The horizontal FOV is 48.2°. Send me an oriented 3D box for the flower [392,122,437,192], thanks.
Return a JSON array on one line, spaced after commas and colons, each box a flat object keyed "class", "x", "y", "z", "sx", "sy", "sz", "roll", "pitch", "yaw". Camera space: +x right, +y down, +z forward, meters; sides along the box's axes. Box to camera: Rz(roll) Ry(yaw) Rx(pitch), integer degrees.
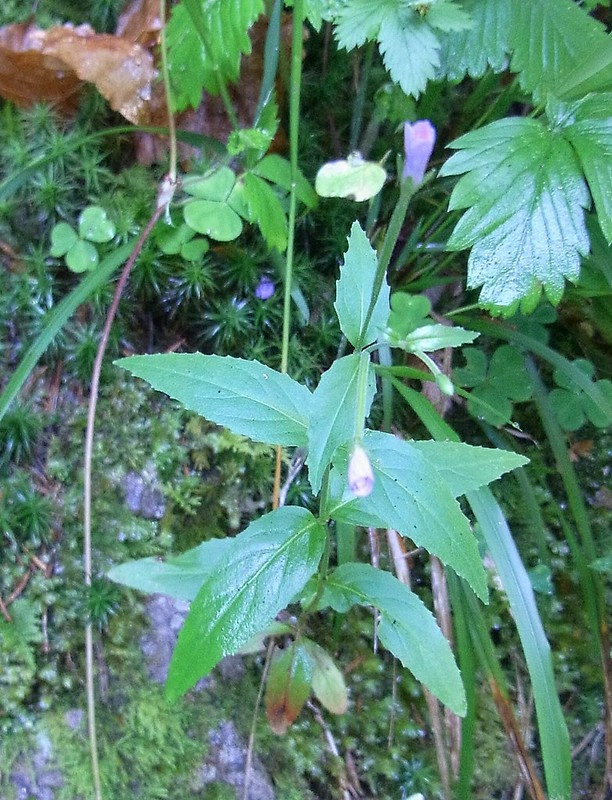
[{"class": "flower", "x": 0.164, "y": -0.377, "z": 1.017, "sx": 0.043, "sy": 0.108, "sz": 0.146, "roll": 12, "pitch": 40, "yaw": 6}]
